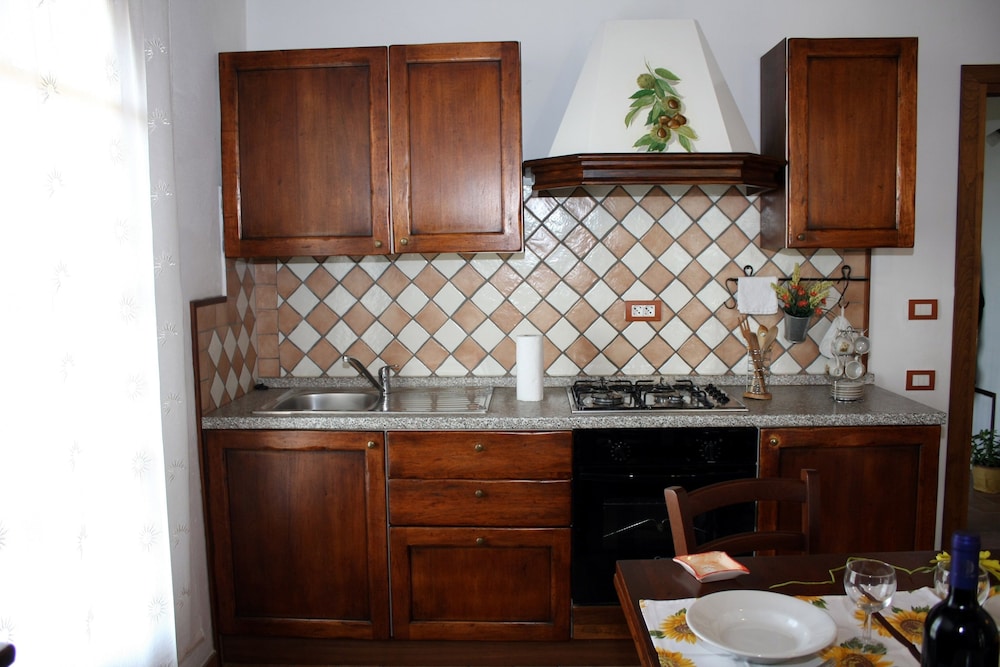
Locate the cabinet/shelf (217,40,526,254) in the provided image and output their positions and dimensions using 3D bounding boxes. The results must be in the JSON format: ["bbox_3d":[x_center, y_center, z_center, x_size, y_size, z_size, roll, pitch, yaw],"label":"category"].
[{"bbox_3d":[-0.761,-0.929,3.998,1.541,0.942,0.812,-12,23,-37],"label":"cabinet/shelf"}]

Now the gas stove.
[{"bbox_3d":[0.706,0.276,3.769,0.763,0.114,0.534,-1,1,0],"label":"gas stove"}]

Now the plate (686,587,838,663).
[{"bbox_3d":[0.735,0.817,2.264,0.211,0.053,0.218,0,8,26],"label":"plate"}]

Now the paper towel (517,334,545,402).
[{"bbox_3d":[0.133,0.163,3.768,0.109,0.307,0.150,-2,1,-11],"label":"paper towel"}]

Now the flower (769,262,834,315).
[{"bbox_3d":[1.467,-0.219,3.897,0.267,0.261,0.252,1,7,31],"label":"flower"}]

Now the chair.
[{"bbox_3d":[0.810,0.612,2.693,0.540,0.280,0.168,-2,1,-26],"label":"chair"}]

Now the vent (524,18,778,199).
[{"bbox_3d":[0.686,-0.987,3.907,1.088,0.602,0.805,0,4,2],"label":"vent"}]

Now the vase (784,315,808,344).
[{"bbox_3d":[1.444,-0.026,3.928,0.127,0.125,0.130,1,4,6],"label":"vase"}]

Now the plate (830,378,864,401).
[{"bbox_3d":[1.594,0.253,3.704,0.105,0.052,0.111,-1,5,2],"label":"plate"}]

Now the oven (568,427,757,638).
[{"bbox_3d":[0.618,0.904,3.812,1.016,0.912,0.646,-1,0,1],"label":"oven"}]

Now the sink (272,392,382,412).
[{"bbox_3d":[-0.838,0.334,3.886,0.516,0.092,0.303,-1,1,-13],"label":"sink"}]

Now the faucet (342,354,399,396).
[{"bbox_3d":[-0.636,0.201,3.947,0.260,0.192,0.314,-1,1,-10],"label":"faucet"}]

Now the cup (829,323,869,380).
[{"bbox_3d":[1.618,0.088,3.758,0.149,0.240,0.209,-1,1,13],"label":"cup"}]

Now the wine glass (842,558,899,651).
[{"bbox_3d":[1.054,0.748,2.292,0.120,0.216,0.195,-1,1,25],"label":"wine glass"}]
